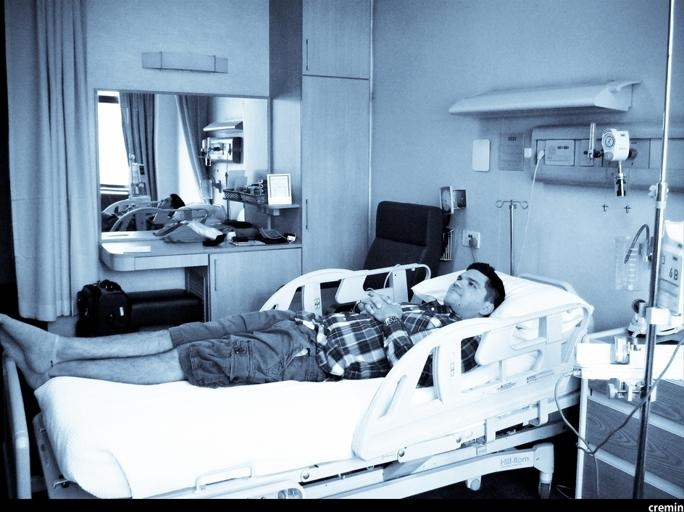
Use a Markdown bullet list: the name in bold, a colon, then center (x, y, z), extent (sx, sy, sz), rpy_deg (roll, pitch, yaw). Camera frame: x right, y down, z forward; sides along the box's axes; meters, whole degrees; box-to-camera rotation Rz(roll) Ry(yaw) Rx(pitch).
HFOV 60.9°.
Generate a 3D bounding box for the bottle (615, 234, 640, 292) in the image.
- **bottle**: center (1.273, 0.032, 2.590), extent (0.100, 0.246, 0.262), rpy_deg (4, 10, 27)

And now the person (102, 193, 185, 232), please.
- **person**: center (-1.609, -0.344, 4.614), extent (0.734, 0.287, 0.392), rpy_deg (-7, 21, -35)

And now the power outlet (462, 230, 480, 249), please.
- **power outlet**: center (0.865, -0.120, 3.882), extent (0.018, 0.088, 0.125), rpy_deg (-1, 5, -21)

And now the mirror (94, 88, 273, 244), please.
- **mirror**: center (-1.304, -0.727, 4.574), extent (1.296, 1.242, 0.055), rpy_deg (-4, 14, -23)

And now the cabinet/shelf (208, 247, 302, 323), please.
- **cabinet/shelf**: center (-0.656, 0.196, 4.087), extent (0.522, 0.460, 0.197), rpy_deg (-4, 16, -27)

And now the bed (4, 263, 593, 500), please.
- **bed**: center (-0.088, 0.587, 2.547), extent (1.926, 0.730, 1.060), rpy_deg (-3, 12, -20)

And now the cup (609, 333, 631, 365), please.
- **cup**: center (1.092, 0.365, 2.263), extent (0.082, 0.109, 0.040), rpy_deg (4, -13, 10)

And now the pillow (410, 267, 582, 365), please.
- **pillow**: center (0.830, 0.273, 2.795), extent (0.542, 0.184, 0.565), rpy_deg (-15, 24, -32)

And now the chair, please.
- **chair**: center (-0.007, -0.022, 3.975), extent (1.216, 1.004, 0.679), rpy_deg (0, 7, -30)

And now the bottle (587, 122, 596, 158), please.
- **bottle**: center (1.307, -0.604, 3.030), extent (0.037, 0.189, 0.083), rpy_deg (3, 10, 20)
